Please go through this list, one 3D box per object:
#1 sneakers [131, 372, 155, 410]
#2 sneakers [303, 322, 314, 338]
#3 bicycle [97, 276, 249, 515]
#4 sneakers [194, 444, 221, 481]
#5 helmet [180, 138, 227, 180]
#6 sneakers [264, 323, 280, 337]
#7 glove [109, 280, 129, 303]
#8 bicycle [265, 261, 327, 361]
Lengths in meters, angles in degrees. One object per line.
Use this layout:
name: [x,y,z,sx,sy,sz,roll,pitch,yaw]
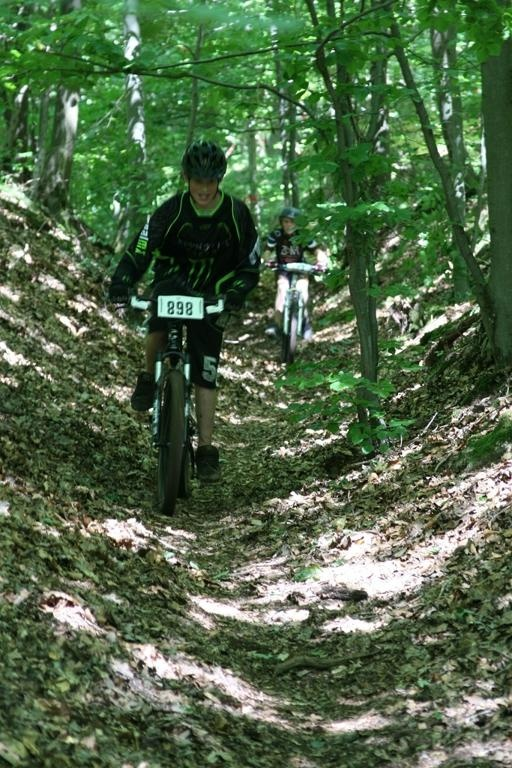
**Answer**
sneakers: [-0.728,0.054,5.557,0.156,0.247,0.115,10,-5,-28]
sneakers: [0.632,-0.666,10.540,0.112,0.201,0.287,-2,-3,8]
bicycle: [-0.542,0.161,5.379,0.681,1.416,0.635,-1,-3,-8]
sneakers: [-0.329,0.526,5.579,0.161,0.229,0.236,0,-35,-10]
helmet: [-0.317,-1.347,5.122,0.287,0.253,0.227,-1,-3,-12]
sneakers: [0.230,-0.701,11.163,0.166,0.099,0.198,-16,-12,35]
glove: [-0.853,-0.562,5.180,0.117,0.134,0.095,-1,-3,-7]
bicycle: [0.481,-0.902,10.741,0.655,1.390,0.984,-2,-3,1]
